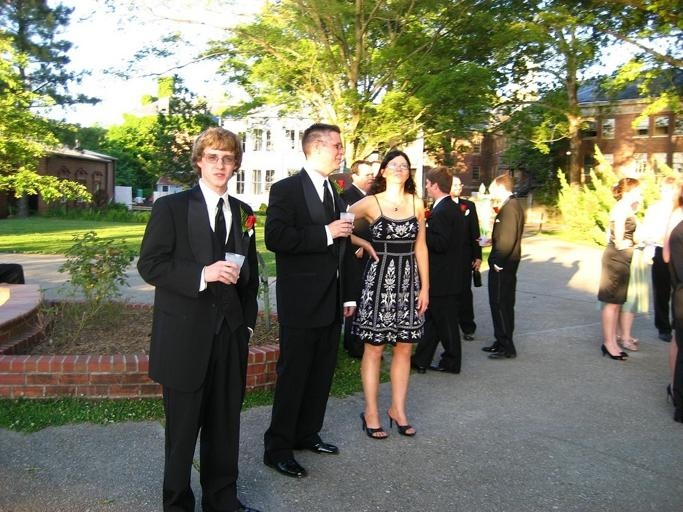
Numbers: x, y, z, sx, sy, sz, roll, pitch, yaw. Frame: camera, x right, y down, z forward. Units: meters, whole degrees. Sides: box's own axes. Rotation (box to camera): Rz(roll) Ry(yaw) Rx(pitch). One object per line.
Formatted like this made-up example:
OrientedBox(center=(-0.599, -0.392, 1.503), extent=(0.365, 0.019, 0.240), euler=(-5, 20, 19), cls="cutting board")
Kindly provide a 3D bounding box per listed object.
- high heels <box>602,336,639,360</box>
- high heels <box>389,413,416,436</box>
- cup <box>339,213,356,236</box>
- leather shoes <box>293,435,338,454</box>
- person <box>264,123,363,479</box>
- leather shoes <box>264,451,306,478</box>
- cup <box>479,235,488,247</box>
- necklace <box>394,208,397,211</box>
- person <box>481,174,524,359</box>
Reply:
OrientedBox(center=(3.933, 1.371, 7.108), extent=(0.358, 0.208, 0.182), euler=(-5, 2, 31), cls="high heels")
OrientedBox(center=(0.599, 1.622, 4.780), extent=(0.114, 0.113, 0.303), euler=(1, -2, -38), cls="high heels")
OrientedBox(center=(0.046, -0.267, 3.943), extent=(0.095, 0.147, 0.069), euler=(1, 10, -10), cls="cup")
OrientedBox(center=(-0.206, 1.650, 4.395), extent=(0.437, 0.161, 0.141), euler=(-1, -4, 5), cls="leather shoes")
OrientedBox(center=(-0.286, 0.310, 4.142), extent=(0.671, 2.826, 0.881), euler=(11, 13, 35), cls="person")
OrientedBox(center=(-0.447, 1.651, 4.011), extent=(0.341, 0.137, 0.140), euler=(2, -1, 33), cls="leather shoes")
OrientedBox(center=(2.120, -0.235, 7.399), extent=(0.157, 0.132, 0.148), euler=(-1, 0, 0), cls="cup")
OrientedBox(center=(0.505, -0.436, 4.625), extent=(0.011, 0.030, 0.032), euler=(0, -3, -43), cls="necklace")
OrientedBox(center=(2.401, 0.139, 7.251), extent=(0.590, 2.633, 0.898), euler=(6, 11, 15), cls="person")
